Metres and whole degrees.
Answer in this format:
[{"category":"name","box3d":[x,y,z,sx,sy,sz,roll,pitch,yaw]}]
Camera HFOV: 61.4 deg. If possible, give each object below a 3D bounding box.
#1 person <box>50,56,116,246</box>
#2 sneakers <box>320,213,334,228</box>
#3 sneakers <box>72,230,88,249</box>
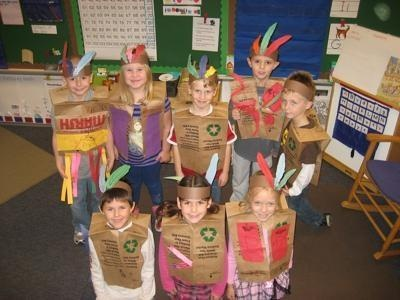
[{"category":"person","box3d":[-1.081,0.060,3.183,0.591,1.821,0.441,-17,30,-33]},{"category":"sneakers","box3d":[1.359,0.745,3.600,0.069,0.203,0.081,13,34,33]},{"category":"sneakers","box3d":[-1.216,0.891,3.394,0.127,0.066,0.218,-7,55,-19]}]
